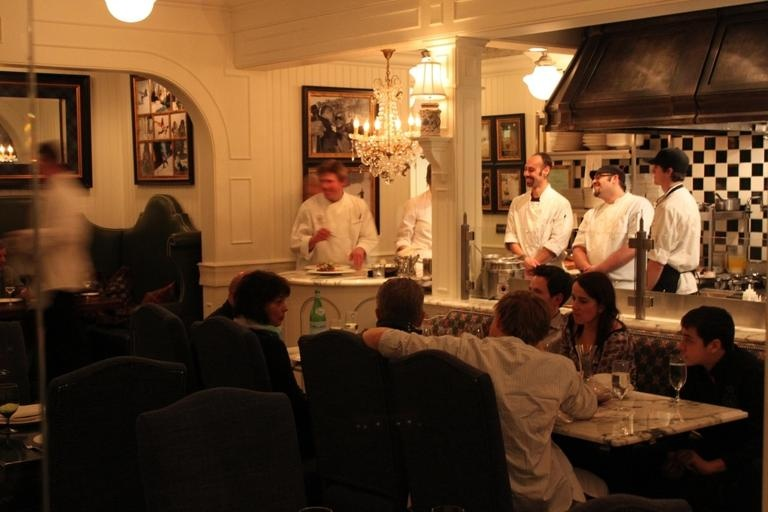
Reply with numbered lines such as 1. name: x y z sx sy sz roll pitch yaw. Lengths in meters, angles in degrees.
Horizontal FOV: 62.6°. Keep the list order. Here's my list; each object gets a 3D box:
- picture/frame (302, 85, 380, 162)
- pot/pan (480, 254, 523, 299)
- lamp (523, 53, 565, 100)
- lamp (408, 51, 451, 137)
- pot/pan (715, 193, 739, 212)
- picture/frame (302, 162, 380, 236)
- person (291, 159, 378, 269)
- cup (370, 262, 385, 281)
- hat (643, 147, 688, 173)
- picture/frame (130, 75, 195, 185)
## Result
1. picture/frame: -0.555 -1.510 7.268 1.062 0.914 0.084 -4 7 -31
2. pot/pan: 0.924 0.179 5.097 0.322 0.320 0.324 0 0 -3
3. lamp: 1.367 -1.580 5.507 0.285 0.515 1.001 4 9 11
4. lamp: 0.341 -1.342 5.178 0.289 0.716 0.283 8 10 32
5. pot/pan: 3.195 -0.497 5.990 0.245 0.172 0.146 0 -1 26
6. picture/frame: -0.532 -0.628 6.993 0.861 0.866 0.064 5 -9 -34
7. person: -0.558 -0.290 6.891 0.947 1.408 0.675 -2 10 -19
8. cup: -0.060 0.163 6.104 0.133 0.167 0.133 0 -7 0
9. hat: 2.152 -0.714 4.848 0.260 0.137 0.192 34 28 35
10. picture/frame: -2.778 -1.540 7.847 0.278 1.381 1.396 -5 12 -40
